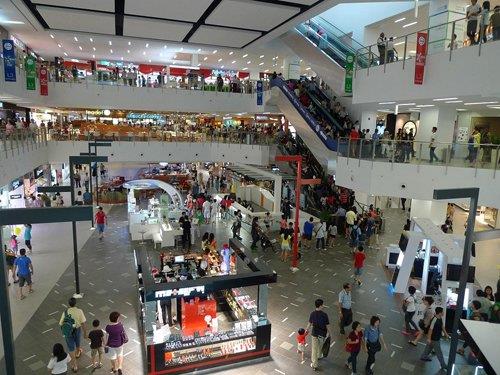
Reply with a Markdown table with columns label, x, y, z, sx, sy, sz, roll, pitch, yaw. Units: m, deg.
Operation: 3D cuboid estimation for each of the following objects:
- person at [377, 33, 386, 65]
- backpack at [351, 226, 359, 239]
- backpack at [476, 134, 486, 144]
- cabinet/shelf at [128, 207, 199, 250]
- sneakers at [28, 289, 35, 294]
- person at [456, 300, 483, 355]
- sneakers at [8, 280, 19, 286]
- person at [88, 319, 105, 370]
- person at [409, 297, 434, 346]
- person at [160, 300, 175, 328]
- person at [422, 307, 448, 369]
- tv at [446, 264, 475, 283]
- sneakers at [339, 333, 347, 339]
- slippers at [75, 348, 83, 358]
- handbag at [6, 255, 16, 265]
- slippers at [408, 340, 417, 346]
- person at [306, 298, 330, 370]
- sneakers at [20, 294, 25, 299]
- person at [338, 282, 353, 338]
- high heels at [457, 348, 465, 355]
| label | x | y | z | sx | sy | sz | roll | pitch | yaw |
| --- | --- | --- | --- | --- | --- | --- | --- | --- | --- |
| person | 5.871 | -6.229 | 15.990 | 0.344 | 1.521 | 0.750 | 0 | 4 | 20 |
| backpack | 4.708 | 2.014 | 16.013 | 0.355 | 0.587 | 0.286 | -1 | 3 | 3 |
| backpack | 8.743 | -1.838 | 13.554 | 0.309 | 0.341 | 0.171 | 14 | 21 | 42 |
| cabinet/shelf | -4.715 | 2.040 | 17.661 | 1.924 | 0.943 | 2.179 | -4 | 19 | -17 |
| sneakers | -7.625 | 3.606 | 12.534 | 0.126 | 0.135 | 0.196 | -2 | 4 | 0 |
| person | 6.055 | 3.871 | 9.873 | 0.589 | 1.560 | 1.053 | 1 | 4 | 33 |
| sneakers | -8.555 | 3.454 | 12.978 | 0.399 | 0.169 | 0.139 | 0 | 12 | -34 |
| person | -4.007 | 4.014 | 9.341 | 0.372 | 1.408 | 0.797 | -3 | 4 | -25 |
| person | 4.806 | 3.721 | 9.989 | 0.626 | 1.529 | 0.421 | 5 | 14 | 20 |
| person | -2.252 | 3.270 | 9.619 | 0.260 | 0.963 | 0.220 | -1 | 22 | -7 |
| person | 4.989 | 4.006 | 9.717 | 0.587 | 1.697 | 0.650 | 0 | 4 | 25 |
| tv | 5.892 | 2.418 | 10.103 | 1.043 | 0.680 | 0.150 | 1 | 13 | -7 |
| sneakers | 2.757 | 4.386 | 10.625 | 0.102 | 0.221 | 0.208 | -2 | 1 | -28 |
| slippers | -4.620 | 4.459 | 9.655 | 0.074 | 0.080 | 0.213 | 4 | 24 | -5 |
| handbag | -8.378 | 2.565 | 12.538 | 0.264 | 0.393 | 0.229 | -4 | 4 | -38 |
| slippers | 4.719 | 4.512 | 10.400 | 0.077 | 0.090 | 0.229 | -4 | 18 | -16 |
| person | 1.811 | 3.830 | 9.484 | 0.587 | 1.952 | 0.620 | -1 | 4 | 17 |
| sneakers | -7.698 | 3.687 | 12.120 | 0.143 | 0.151 | 0.233 | -4 | 4 | -34 |
| person | 2.867 | 3.519 | 10.793 | 0.358 | 1.746 | 1.467 | -1 | 4 | 14 |
| high heels | 5.909 | 4.594 | 10.032 | 0.075 | 0.113 | 0.165 | -3 | 12 | -24 |
